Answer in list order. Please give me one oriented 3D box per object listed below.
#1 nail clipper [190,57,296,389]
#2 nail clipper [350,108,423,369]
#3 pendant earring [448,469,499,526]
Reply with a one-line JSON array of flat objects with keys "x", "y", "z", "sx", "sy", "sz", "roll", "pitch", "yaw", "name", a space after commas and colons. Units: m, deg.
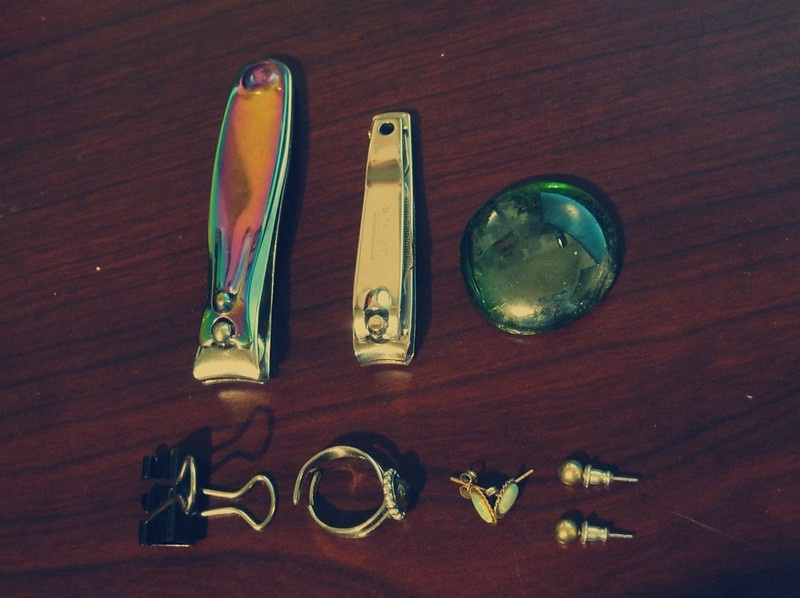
[{"x": -0.242, "y": -0.121, "z": 2.483, "sx": 0.136, "sy": 0.127, "sz": 0.530, "roll": 3, "pitch": 82, "yaw": 9, "name": "nail clipper"}, {"x": -0.021, "y": -0.079, "z": 2.417, "sx": 0.094, "sy": 0.079, "sz": 0.378, "roll": 1, "pitch": 83, "yaw": 12, "name": "nail clipper"}, {"x": 0.117, "y": 0.304, "z": 2.302, "sx": 0.093, "sy": 0.070, "sz": 0.091, "roll": -2, "pitch": 32, "yaw": -1, "name": "pendant earring"}]
